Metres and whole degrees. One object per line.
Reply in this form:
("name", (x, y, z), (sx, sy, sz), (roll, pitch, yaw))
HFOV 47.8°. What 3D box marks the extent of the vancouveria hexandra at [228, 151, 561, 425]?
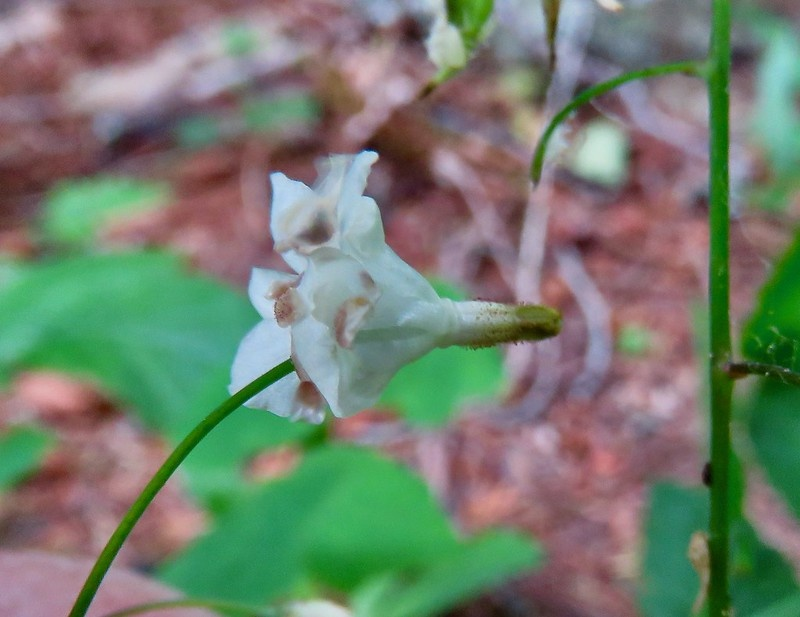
("vancouveria hexandra", (0.001, 0.001, 0.627), (0.191, 0.117, 0.182), (4, 64, 2))
